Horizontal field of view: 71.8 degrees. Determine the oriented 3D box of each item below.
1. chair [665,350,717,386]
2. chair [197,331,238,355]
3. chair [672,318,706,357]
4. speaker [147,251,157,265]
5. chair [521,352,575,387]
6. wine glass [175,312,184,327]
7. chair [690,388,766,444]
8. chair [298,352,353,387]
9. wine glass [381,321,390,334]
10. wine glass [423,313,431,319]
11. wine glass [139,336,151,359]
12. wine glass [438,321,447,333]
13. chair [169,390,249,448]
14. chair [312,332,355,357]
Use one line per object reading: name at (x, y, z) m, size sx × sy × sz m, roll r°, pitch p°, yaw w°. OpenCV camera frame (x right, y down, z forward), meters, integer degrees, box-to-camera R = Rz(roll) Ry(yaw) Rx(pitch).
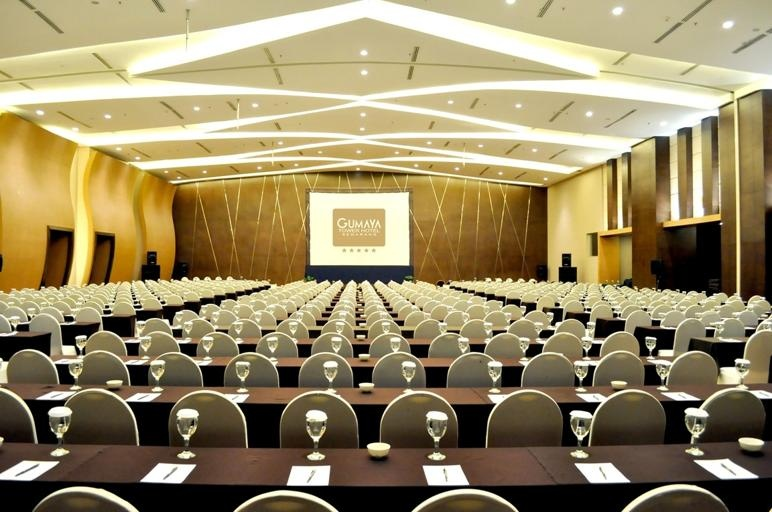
chair at (3.309, 1.191, 5.895) m, size 0.368 × 0.540 × 0.447 m, roll 0°, pitch 2°, yaw 10°
chair at (-2.140, 1.126, 6.827) m, size 0.357 × 0.347 × 0.190 m, roll 1°, pitch 9°, yaw 1°
chair at (4.469, 1.179, 7.789) m, size 0.243 × 0.382 × 0.228 m, roll 25°, pitch -21°, yaw -21°
speaker at (-10.236, 0.068, 23.338) m, size 0.367 × 0.610 × 0.513 m, roll 0°, pitch -2°, yaw -15°
chair at (1.803, 1.148, 5.955) m, size 0.565 × 0.542 × 0.439 m, roll 1°, pitch 36°, yaw 14°
wine glass at (-3.269, 0.993, 8.385) m, size 0.120 × 0.230 × 0.380 m, roll 0°, pitch -2°, yaw -22°
chair at (2.959, 1.348, 4.779) m, size 0.438 × 0.637 × 0.524 m, roll 1°, pitch 0°, yaw 9°
chair at (-0.619, 1.146, 5.865) m, size 0.600 × 0.579 × 0.326 m, roll 3°, pitch 38°, yaw -11°
wine glass at (0.007, 0.945, 6.972) m, size 0.136 × 0.168 × 0.139 m, roll 1°, pitch -4°, yaw 0°
wine glass at (0.696, 1.022, 9.073) m, size 0.108 × 0.191 × 0.203 m, roll -1°, pitch 0°, yaw 10°
wine glass at (-2.810, 1.063, 6.215) m, size 0.096 × 0.283 × 0.482 m, roll 1°, pitch -2°, yaw -27°
wine glass at (0.794, 1.025, 7.674) m, size 0.143 × 0.185 × 0.148 m, roll 0°, pitch -1°, yaw 24°
chair at (-1.552, 1.358, 4.788) m, size 0.502 × 0.730 × 0.571 m, roll 2°, pitch 1°, yaw 2°
chair at (-0.649, 1.116, 6.703) m, size 0.413 × 0.423 × 0.226 m, roll 2°, pitch 6°, yaw 4°
